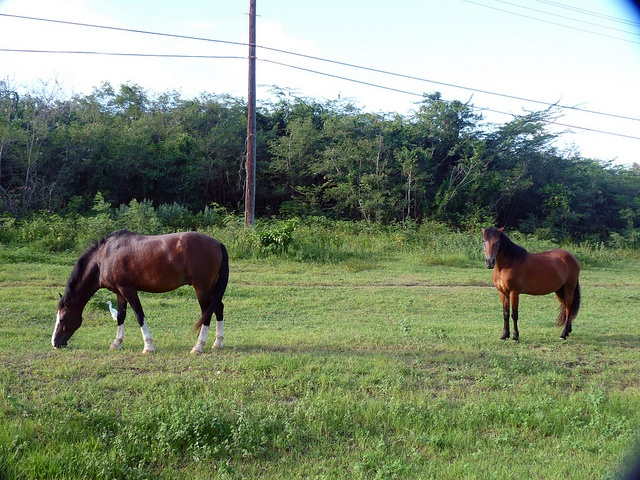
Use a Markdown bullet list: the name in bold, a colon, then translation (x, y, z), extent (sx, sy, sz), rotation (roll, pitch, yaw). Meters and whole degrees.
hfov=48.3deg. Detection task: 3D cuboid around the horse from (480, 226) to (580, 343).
- **horse**: translation (5.309, 1.185, 17.784), extent (3.489, 2.735, 0.995), rotation (3, 2, -28)
